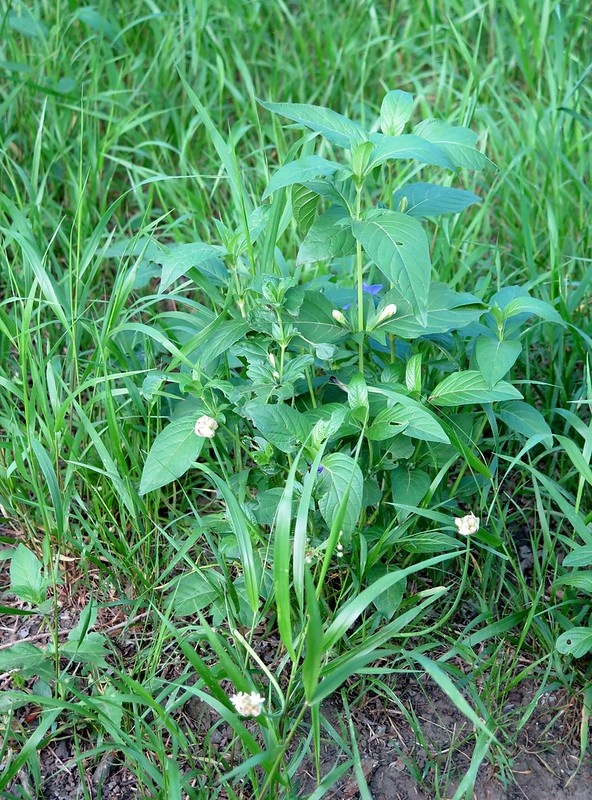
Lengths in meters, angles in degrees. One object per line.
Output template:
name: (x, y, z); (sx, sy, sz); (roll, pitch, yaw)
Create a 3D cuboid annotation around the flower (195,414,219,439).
flower: (-0.188, 0.056, 1.451); (0.040, 0.051, 0.022); (-56, 29, -13)
